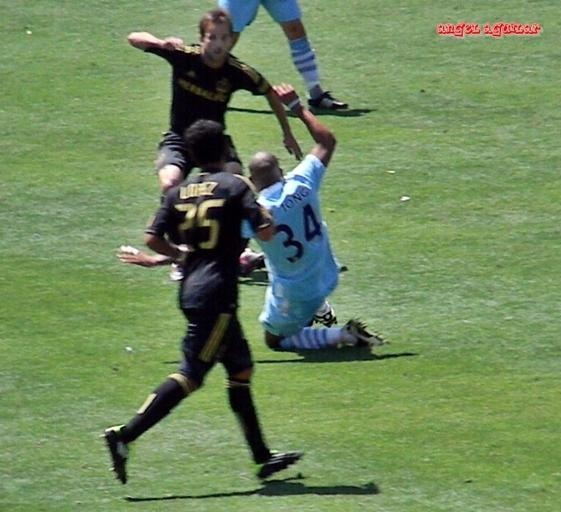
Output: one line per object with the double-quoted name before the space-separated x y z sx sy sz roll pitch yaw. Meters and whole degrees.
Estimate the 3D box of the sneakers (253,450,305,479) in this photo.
"sneakers" -0.016 1.220 7.101 0.269 0.070 0.193 13 45 22

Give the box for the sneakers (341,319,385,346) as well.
"sneakers" 0.567 0.543 8.346 0.340 0.080 0.164 15 23 13

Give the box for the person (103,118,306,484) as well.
"person" -0.420 0.266 7.101 1.129 2.047 1.265 3 24 -7

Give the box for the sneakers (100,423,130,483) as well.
"sneakers" -0.950 1.156 6.909 0.155 0.409 0.154 5 26 -6
